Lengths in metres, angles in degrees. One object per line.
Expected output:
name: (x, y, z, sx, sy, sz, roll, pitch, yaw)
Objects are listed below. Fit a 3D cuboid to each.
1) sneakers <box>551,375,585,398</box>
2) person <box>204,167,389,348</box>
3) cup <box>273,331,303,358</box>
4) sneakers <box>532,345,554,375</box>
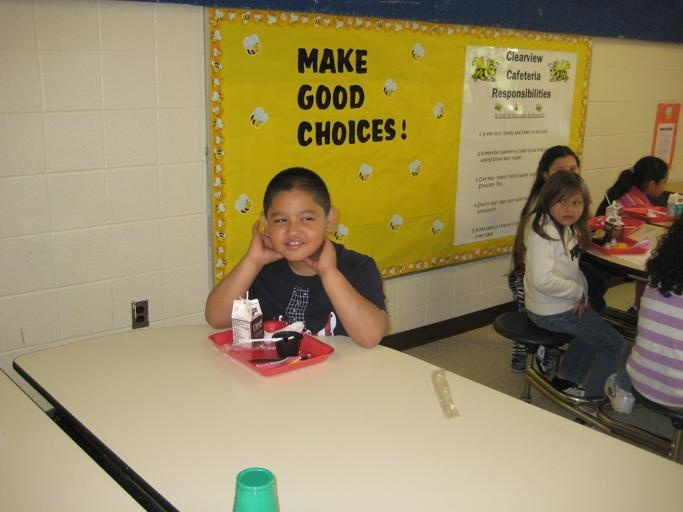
sneakers: (1.307, 0.736, 2.923, 0.107, 0.059, 0.149, -13, 24, -27)
person: (-0.167, 0.008, 1.920, 0.689, 0.623, 0.364, 3, 20, 14)
cup: (-0.173, 0.287, 1.692, 0.077, 0.064, 0.080, 0, 7, 0)
sneakers: (1.223, 0.632, 3.070, 0.123, 0.194, 0.185, 0, -1, 1)
